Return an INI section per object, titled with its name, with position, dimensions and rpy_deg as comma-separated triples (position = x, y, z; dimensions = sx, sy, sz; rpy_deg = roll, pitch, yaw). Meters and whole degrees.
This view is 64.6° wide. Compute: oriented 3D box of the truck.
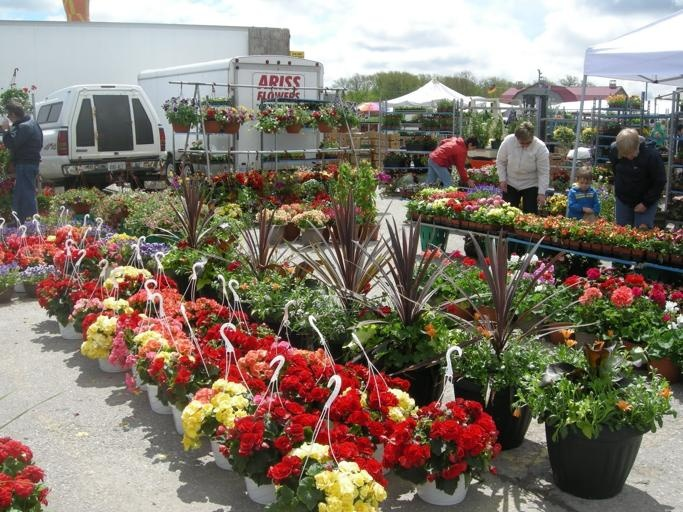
[truck]
position = -2.880, -3.823, 13.964
dimensions = 3.125, 3.394, 5.639
rpy_deg = -13, 19, -36

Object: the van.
[van]
position = -5.425, -2.637, 12.123
dimensions = 1.969, 1.706, 3.222
rpy_deg = -7, 19, -32
